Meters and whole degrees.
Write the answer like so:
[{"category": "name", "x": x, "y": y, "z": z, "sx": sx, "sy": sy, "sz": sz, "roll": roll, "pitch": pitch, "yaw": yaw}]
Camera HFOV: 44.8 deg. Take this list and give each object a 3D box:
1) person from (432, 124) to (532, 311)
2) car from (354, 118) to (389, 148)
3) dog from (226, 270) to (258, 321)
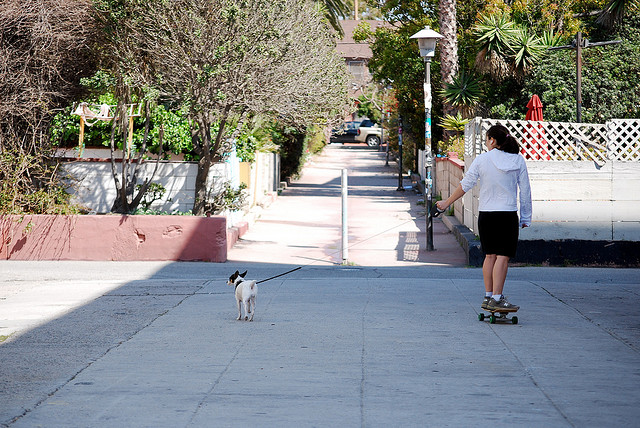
[{"category": "person", "x": 2.464, "y": 0.039, "z": 11.031, "sx": 0.957, "sy": 2.598, "sz": 0.462, "roll": 3, "pitch": 5, "yaw": 14}, {"category": "car", "x": 4.015, "y": -6.703, "z": 63.767, "sx": 3.499, "sy": 1.845, "sz": 2.096, "roll": -3, "pitch": 12, "yaw": 0}, {"category": "dog", "x": -1.124, "y": 1.163, "z": 11.261, "sx": 0.376, "sy": 0.681, "sz": 0.698, "roll": 0, "pitch": 5, "yaw": -14}]
